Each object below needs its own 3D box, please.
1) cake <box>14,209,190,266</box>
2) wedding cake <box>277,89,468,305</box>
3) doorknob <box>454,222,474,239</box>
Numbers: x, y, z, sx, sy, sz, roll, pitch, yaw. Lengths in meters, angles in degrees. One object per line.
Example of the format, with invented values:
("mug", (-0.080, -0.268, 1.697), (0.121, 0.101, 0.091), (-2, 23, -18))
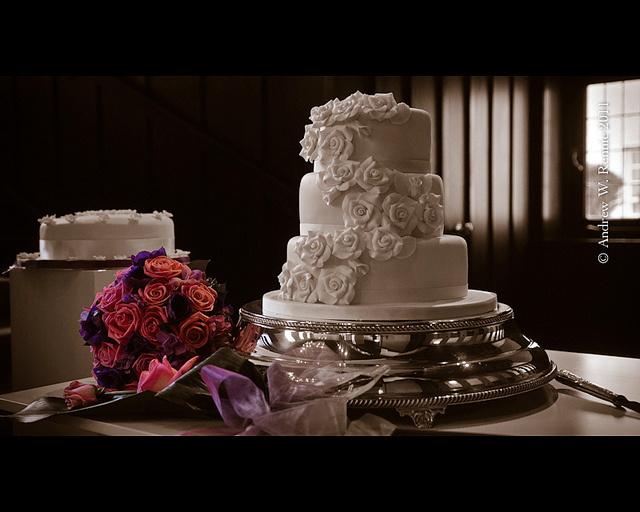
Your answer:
("cake", (-1.041, -0.075, 3.020), (0.795, 0.307, 0.307), (3, 10, -12))
("wedding cake", (0.171, -0.181, 2.171), (0.557, 0.702, 0.611), (0, 1, -1))
("doorknob", (1.230, -0.227, 5.350), (0.155, 0.131, 0.166), (-2, 5, -24))
